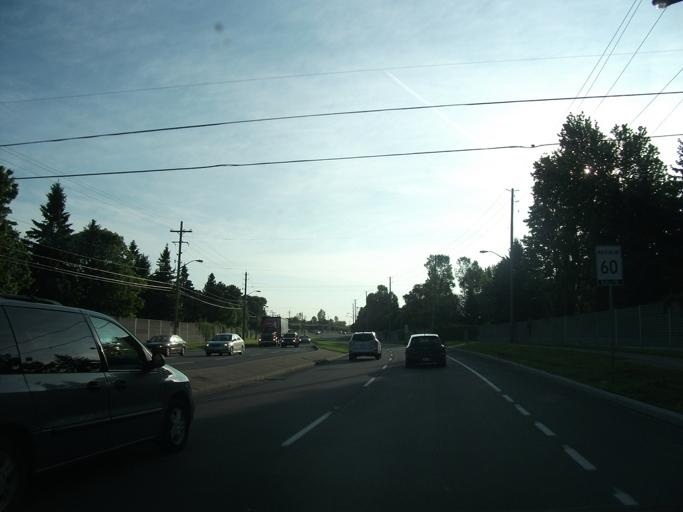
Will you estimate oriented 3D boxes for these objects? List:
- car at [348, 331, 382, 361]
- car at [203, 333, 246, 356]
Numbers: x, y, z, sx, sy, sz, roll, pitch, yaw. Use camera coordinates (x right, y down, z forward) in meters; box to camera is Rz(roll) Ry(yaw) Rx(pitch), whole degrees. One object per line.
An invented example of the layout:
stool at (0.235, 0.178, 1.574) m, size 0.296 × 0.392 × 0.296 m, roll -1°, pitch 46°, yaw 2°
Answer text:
car at (1.373, 4.997, 37.698) m, size 0.995 × 1.095 × 2.187 m, roll 0°, pitch -2°, yaw 8°
car at (-7.869, 6.184, 46.768) m, size 1.297 × 1.069 × 3.075 m, roll -2°, pitch -14°, yaw 9°
